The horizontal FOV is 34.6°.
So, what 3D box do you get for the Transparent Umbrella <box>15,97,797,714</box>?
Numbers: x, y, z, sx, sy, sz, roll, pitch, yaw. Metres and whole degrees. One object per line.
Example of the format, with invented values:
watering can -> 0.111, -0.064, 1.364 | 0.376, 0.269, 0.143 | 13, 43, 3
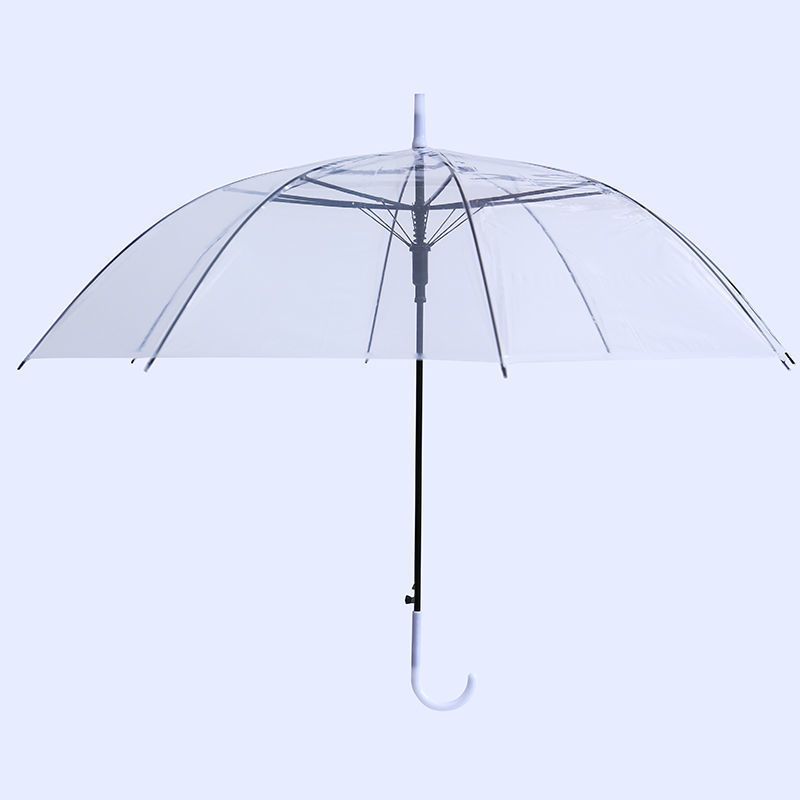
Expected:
Transparent Umbrella -> 0.033, -0.406, 3.337 | 1.779, 0.919, 0.388 | 3, -53, 2
